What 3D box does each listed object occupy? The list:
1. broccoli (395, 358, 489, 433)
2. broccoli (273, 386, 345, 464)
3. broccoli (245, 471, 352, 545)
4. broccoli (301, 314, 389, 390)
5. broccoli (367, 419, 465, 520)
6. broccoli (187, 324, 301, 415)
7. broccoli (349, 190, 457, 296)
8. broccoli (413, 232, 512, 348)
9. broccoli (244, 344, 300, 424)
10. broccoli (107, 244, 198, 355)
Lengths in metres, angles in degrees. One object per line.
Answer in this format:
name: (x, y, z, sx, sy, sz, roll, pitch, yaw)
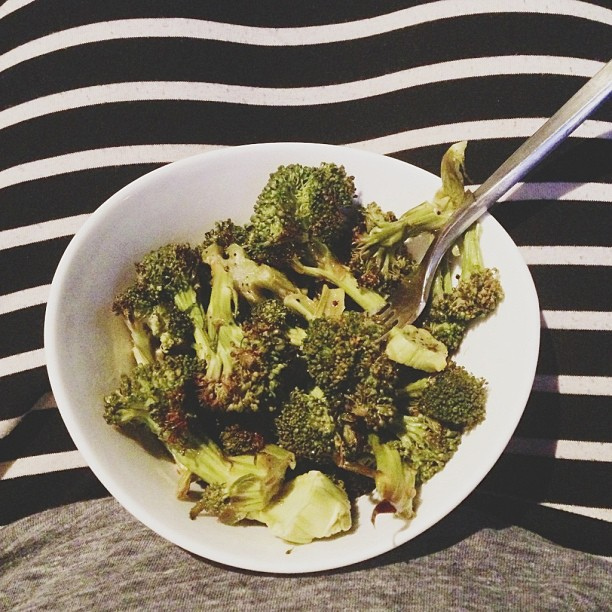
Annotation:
broccoli: (0.539, 0.346, 3.350, 0.301, 0.245, 0.159, 5, 112, 23)
broccoli: (0.010, 0.450, 3.348, 0.279, 0.306, 0.167, 40, 54, -10)
broccoli: (0.022, 0.800, 3.300, 0.374, 0.343, 0.090, -2, 96, -42)
broccoli: (0.136, 0.147, 3.356, 0.271, 0.159, 0.294, 1, 68, -1)
broccoli: (0.391, 0.589, 3.204, 0.326, 0.101, 0.326, 23, 69, 8)
broccoli: (-0.232, 0.258, 3.281, 0.339, 0.199, 0.359, -3, 42, -30)
broccoli: (0.402, -0.265, 3.402, 0.455, 0.200, 0.299, -33, 96, 8)
broccoli: (0.616, -0.039, 3.462, 0.401, 0.239, 0.427, -9, 83, -2)
broccoli: (-0.121, 0.280, 3.317, 0.129, 0.203, 0.293, 32, 97, 9)
broccoli: (-0.567, -0.055, 3.477, 0.346, 0.218, 0.423, 4, 101, -9)
